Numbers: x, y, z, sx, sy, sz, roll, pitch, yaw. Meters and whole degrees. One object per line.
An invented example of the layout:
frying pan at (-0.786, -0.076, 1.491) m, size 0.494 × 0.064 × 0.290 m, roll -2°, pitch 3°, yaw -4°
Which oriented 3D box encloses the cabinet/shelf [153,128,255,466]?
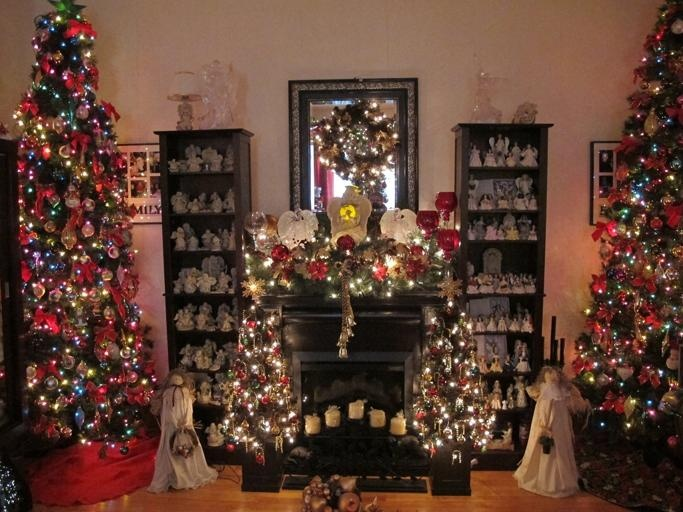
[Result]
cabinet/shelf at (-1.079, 0.399, 6.460) m, size 0.727 × 3.060 × 0.465 m, roll -2°, pitch 7°, yaw 6°

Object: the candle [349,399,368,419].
candle at (0.127, 1.260, 5.971) m, size 0.125 × 0.145 × 0.129 m, roll 2°, pitch -3°, yaw -28°

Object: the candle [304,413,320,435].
candle at (-0.238, 1.375, 5.964) m, size 0.133 × 0.155 × 0.135 m, roll -1°, pitch 3°, yaw -21°

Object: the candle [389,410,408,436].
candle at (0.466, 1.361, 5.907) m, size 0.140 × 0.162 × 0.076 m, roll 2°, pitch 1°, yaw -9°

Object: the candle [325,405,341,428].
candle at (-0.063, 1.298, 5.956) m, size 0.158 × 0.168 × 0.145 m, roll 1°, pitch 6°, yaw 14°

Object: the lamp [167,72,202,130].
lamp at (-1.372, -1.358, 6.333) m, size 0.289 × 0.492 × 0.293 m, roll 0°, pitch 4°, yaw 28°

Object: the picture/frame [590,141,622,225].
picture/frame at (2.329, -0.653, 6.472) m, size 0.256 × 0.706 × 0.077 m, roll 2°, pitch 1°, yaw -1°

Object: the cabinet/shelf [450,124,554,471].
cabinet/shelf at (1.370, 0.328, 6.344) m, size 0.840 × 2.646 × 0.589 m, roll 2°, pitch 1°, yaw 10°

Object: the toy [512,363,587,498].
toy at (1.722, 1.412, 5.924) m, size 0.576 × 0.956 × 0.364 m, roll 2°, pitch 1°, yaw 12°

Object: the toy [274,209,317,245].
toy at (-0.368, -0.236, 5.932) m, size 0.274 × 0.287 × 0.091 m, roll 7°, pitch -13°, yaw 0°

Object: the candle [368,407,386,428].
candle at (0.282, 1.324, 5.950) m, size 0.128 × 0.123 × 0.131 m, roll 0°, pitch 4°, yaw 3°

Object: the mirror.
mirror at (0.146, -0.988, 6.269) m, size 1.179 × 1.357 × 0.093 m, roll -1°, pitch 1°, yaw 2°

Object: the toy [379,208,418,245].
toy at (0.463, -0.245, 5.875) m, size 0.298 × 0.227 × 0.165 m, roll 2°, pitch 1°, yaw 14°
